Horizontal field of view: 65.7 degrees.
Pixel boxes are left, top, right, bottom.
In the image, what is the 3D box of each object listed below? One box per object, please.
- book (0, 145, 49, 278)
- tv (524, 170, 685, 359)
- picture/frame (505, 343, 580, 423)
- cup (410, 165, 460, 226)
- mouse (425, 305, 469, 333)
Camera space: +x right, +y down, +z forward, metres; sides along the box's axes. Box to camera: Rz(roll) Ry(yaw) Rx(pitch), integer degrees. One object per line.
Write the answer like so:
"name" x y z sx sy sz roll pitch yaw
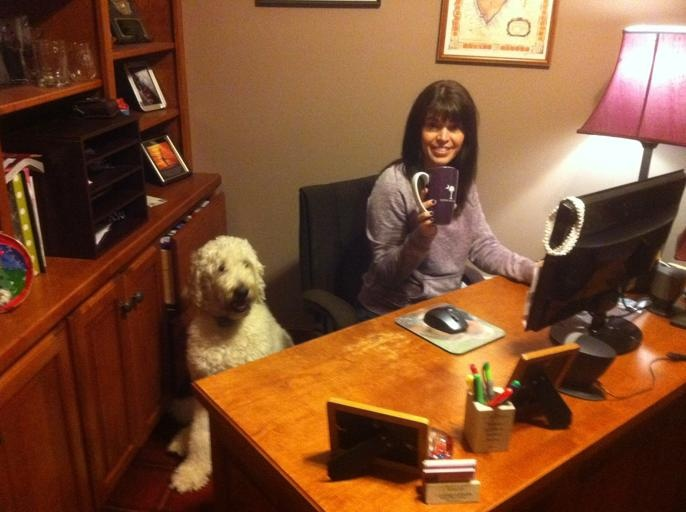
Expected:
"book" -1.059 -0.134 1.808 0.100 0.383 0.241 -8 28 -16
"tv" 0.901 0.045 1.767 0.646 0.478 0.225 -21 33 -29
"picture/frame" 0.548 0.356 1.449 0.155 0.180 0.098 -11 33 -21
"cup" 0.329 -0.213 1.893 0.135 0.220 0.169 9 28 16
"mouse" 0.359 0.215 1.794 0.079 0.042 0.122 -14 19 -34
